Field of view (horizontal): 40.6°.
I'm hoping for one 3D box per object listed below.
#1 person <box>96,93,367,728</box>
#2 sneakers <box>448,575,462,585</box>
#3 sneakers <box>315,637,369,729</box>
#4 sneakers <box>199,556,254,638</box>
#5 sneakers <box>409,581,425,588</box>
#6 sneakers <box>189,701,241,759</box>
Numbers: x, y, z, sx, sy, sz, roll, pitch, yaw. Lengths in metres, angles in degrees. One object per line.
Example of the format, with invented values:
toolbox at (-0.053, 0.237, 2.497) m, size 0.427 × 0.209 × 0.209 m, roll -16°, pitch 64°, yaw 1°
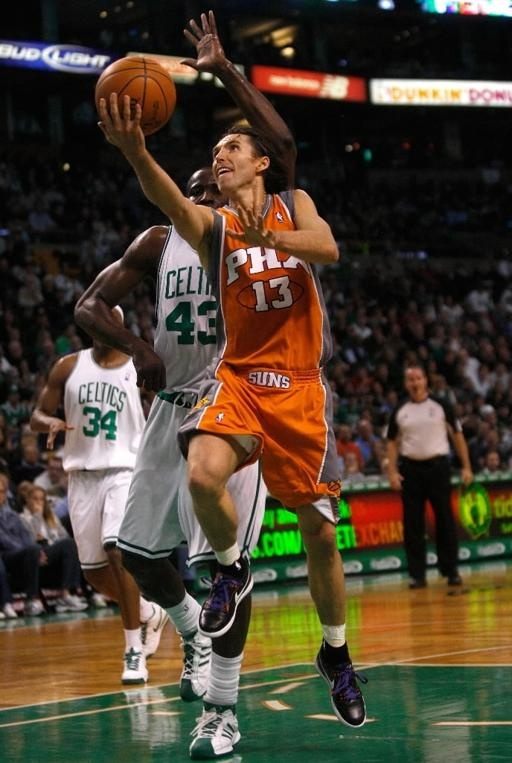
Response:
person at (0.031, 0.114, 2.085) m, size 0.504 × 1.894 × 0.859 m, roll -3°, pitch 4°, yaw 24°
sneakers at (2.216, 2.197, 7.677) m, size 0.136 × 0.090 × 0.201 m, roll -3°, pitch 3°, yaw 14°
sneakers at (0.259, 0.935, 2.217) m, size 0.125 × 0.291 × 0.112 m, roll -14°, pitch -26°, yaw -18°
sneakers at (-0.081, 0.591, 1.952) m, size 0.102 × 0.111 × 0.294 m, roll -3°, pitch 20°, yaw 17°
sneakers at (1.844, 2.306, 7.882) m, size 0.162 × 0.100 × 0.080 m, roll 10°, pitch -14°, yaw 1°
sneakers at (-0.116, 0.998, 1.973) m, size 0.077 × 0.085 × 0.203 m, roll -3°, pitch -12°, yaw 9°
